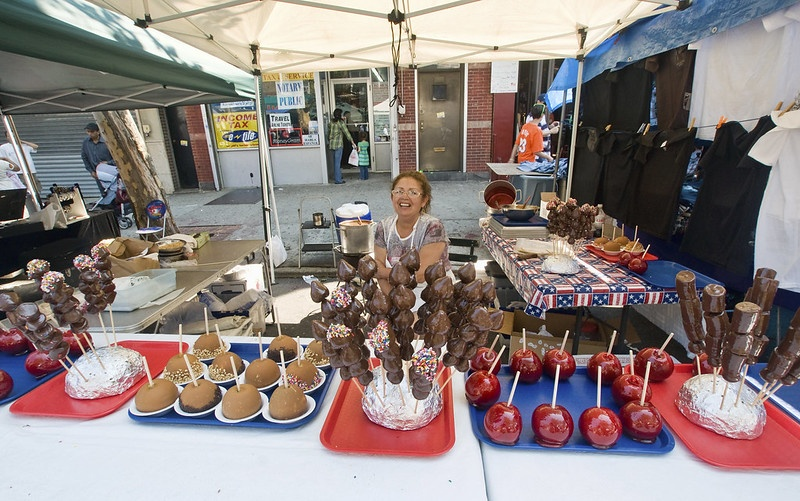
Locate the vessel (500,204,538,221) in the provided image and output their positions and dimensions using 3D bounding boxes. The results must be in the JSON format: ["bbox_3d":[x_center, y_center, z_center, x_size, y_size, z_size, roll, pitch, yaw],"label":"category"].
[{"bbox_3d":[1.232,-0.395,5.148,0.347,0.121,0.391,0,18,11],"label":"vessel"}]

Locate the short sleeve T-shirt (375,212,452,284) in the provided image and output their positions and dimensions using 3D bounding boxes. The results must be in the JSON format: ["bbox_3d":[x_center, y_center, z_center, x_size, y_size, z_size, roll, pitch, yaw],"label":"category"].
[{"bbox_3d":[0.090,-0.017,3.980,0.698,0.617,0.380,3,6,20],"label":"short sleeve T-shirt"}]

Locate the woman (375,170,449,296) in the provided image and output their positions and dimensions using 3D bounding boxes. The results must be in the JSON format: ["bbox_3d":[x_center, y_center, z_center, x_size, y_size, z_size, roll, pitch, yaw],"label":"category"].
[{"bbox_3d":[0.056,-0.129,4.427,0.737,1.053,0.740,5,11,29],"label":"woman"}]

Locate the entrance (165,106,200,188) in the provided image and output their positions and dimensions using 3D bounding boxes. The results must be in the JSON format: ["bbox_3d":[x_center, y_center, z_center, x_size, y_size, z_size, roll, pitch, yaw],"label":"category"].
[{"bbox_3d":[-5.650,-2.739,12.657,0.759,0.109,2.899,-14,59,-5],"label":"entrance"}]

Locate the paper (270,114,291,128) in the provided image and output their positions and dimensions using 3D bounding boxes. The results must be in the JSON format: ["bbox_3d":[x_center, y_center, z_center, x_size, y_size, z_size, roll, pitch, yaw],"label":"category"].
[{"bbox_3d":[-2.854,-3.092,11.849,0.387,0.255,0.005,-1,21,-7],"label":"paper"}]

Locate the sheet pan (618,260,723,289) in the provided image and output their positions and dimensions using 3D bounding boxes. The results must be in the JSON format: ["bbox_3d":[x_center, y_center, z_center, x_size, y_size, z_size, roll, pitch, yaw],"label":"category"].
[{"bbox_3d":[2.154,0.183,4.072,0.439,0.044,0.394,-3,16,-7],"label":"sheet pan"}]

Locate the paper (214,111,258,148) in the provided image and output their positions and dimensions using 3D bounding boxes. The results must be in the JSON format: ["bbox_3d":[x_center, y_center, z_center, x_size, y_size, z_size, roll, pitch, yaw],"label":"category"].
[{"bbox_3d":[-3.908,-2.967,12.050,1.312,0.995,0.024,3,14,20],"label":"paper"}]

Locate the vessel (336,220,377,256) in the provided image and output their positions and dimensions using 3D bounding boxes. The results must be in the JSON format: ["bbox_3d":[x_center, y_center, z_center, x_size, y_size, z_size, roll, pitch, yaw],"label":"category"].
[{"bbox_3d":[-0.522,-0.174,6.317,0.653,0.411,0.390,1,11,8],"label":"vessel"}]

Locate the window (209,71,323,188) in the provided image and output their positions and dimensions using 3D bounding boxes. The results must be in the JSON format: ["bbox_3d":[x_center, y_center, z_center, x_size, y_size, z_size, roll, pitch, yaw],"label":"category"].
[{"bbox_3d":[-2.880,-2.797,12.063,3.036,2.820,0.150,4,1,17],"label":"window"}]

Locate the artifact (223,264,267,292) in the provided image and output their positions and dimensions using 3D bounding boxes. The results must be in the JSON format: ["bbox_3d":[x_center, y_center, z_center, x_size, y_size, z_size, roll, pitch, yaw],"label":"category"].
[{"bbox_3d":[-1.715,0.391,5.608,0.296,0.346,0.471,-2,9,11],"label":"artifact"}]

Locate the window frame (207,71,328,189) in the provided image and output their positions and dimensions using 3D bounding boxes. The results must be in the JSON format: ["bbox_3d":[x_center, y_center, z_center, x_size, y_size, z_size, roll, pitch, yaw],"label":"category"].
[{"bbox_3d":[-3.095,-2.906,12.521,2.888,2.614,1.048,0,16,16],"label":"window frame"}]

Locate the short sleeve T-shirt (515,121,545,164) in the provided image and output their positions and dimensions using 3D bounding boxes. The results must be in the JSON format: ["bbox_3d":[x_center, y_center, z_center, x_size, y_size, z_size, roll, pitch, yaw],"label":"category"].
[{"bbox_3d":[2.174,-1.845,8.550,0.312,0.602,0.702,-13,26,-29],"label":"short sleeve T-shirt"}]

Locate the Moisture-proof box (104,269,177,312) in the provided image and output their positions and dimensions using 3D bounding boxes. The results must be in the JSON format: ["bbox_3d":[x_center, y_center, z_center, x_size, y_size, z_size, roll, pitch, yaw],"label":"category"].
[{"bbox_3d":[-2.083,0.320,4.122,0.307,0.151,0.447,2,8,13],"label":"Moisture-proof box"}]

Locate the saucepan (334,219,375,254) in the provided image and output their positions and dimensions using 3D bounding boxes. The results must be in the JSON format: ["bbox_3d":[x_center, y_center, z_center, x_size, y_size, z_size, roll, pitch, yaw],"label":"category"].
[{"bbox_3d":[-0.553,-0.160,6.174,0.453,0.370,0.432,0,15,0],"label":"saucepan"}]

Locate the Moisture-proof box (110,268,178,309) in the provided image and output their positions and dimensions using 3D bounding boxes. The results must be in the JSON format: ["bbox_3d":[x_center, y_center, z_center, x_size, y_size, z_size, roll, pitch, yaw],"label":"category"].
[{"bbox_3d":[-2.092,0.297,4.075,0.298,0.147,0.433,2,8,13],"label":"Moisture-proof box"}]

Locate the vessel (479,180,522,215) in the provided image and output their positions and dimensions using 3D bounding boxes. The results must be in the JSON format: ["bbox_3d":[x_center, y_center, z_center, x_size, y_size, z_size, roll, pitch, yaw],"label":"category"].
[{"bbox_3d":[1.117,-0.601,5.572,0.445,0.359,0.259,-3,10,7],"label":"vessel"}]
